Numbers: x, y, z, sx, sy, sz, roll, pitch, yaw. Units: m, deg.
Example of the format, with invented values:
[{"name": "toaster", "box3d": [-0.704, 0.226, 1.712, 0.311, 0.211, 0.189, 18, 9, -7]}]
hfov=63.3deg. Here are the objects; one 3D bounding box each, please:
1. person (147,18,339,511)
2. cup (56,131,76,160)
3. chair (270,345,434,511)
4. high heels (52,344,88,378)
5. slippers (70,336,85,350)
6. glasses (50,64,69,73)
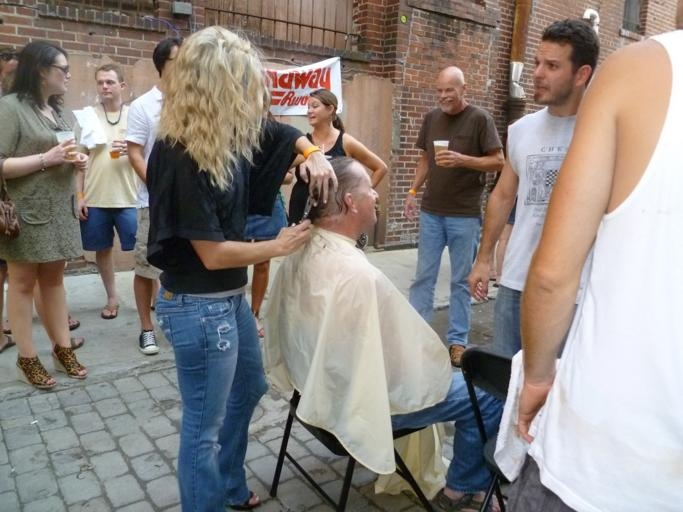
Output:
[{"name": "person", "box3d": [-0.504, 0.199, 2.660, 0.765, 2.445, 0.529, -6, 18, -22]}, {"name": "cup", "box3d": [-1.984, -0.803, 3.987, 0.112, 0.179, 0.311, -8, 19, -26]}, {"name": "chair", "box3d": [-0.060, 0.982, 3.110, 0.726, 1.165, 0.635, -3, 6, -28]}, {"name": "high heels", "box3d": [-2.092, 0.816, 4.251, 0.318, 0.199, 0.112, 22, 11, 11]}, {"name": "slippers", "box3d": [-2.186, 0.736, 4.667, 0.199, 0.092, 0.078, -1, 4, 24]}, {"name": "glasses", "box3d": [-2.007, -1.337, 3.978, 0.071, 0.060, 0.281, -4, 18, -15]}]
